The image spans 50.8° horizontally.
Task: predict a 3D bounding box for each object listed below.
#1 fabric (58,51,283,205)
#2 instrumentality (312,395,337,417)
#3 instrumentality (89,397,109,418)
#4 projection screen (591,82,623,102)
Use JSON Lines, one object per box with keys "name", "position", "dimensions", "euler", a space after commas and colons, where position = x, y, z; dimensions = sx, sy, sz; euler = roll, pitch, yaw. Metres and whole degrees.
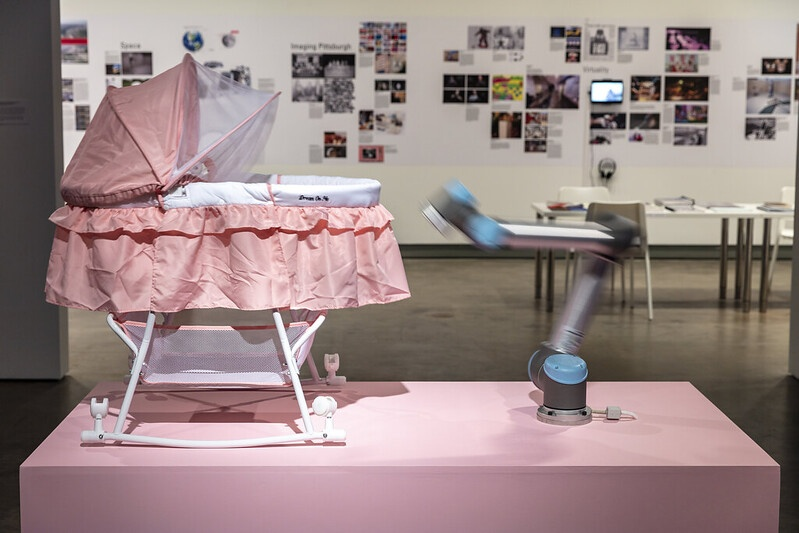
{"name": "fabric", "position": [-1.170, -0.724, 4.322], "dimensions": [1.172, 0.680, 0.849], "euler": [-6, 11, -2]}
{"name": "instrumentality", "position": [-0.348, 0.661, 3.926], "dimensions": [0.097, 0.124, 0.115], "euler": [0, 10, -1]}
{"name": "instrumentality", "position": [-1.396, 0.662, 3.950], "dimensions": [0.100, 0.130, 0.092], "euler": [0, -9, -11]}
{"name": "projection screen", "position": [2.339, -1.999, 9.579], "dimensions": [0.229, 0.162, 0.030], "euler": [0, 11, -2]}
